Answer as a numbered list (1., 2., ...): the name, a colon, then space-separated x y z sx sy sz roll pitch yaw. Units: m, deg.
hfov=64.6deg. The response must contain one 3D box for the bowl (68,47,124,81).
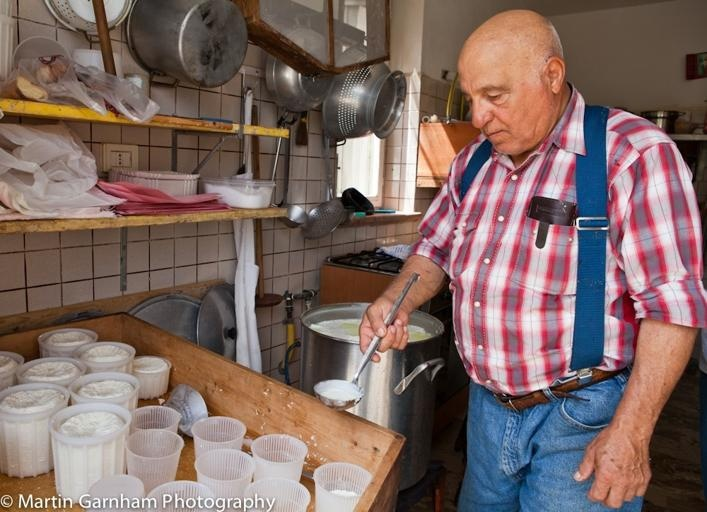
1. bowl: -0.895 -0.674 1.955 0.130 0.092 0.124 6 16 -2

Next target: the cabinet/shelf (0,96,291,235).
1. cabinet/shelf: -0.779 -0.318 2.073 0.378 0.417 1.042 8 11 42

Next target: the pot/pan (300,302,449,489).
1. pot/pan: 0.046 0.547 2.361 0.759 0.661 0.697 0 4 3

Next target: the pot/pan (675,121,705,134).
1. pot/pan: 2.718 -1.034 4.515 0.137 0.089 0.219 0 11 9

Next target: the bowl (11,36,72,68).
1. bowl: -1.008 -0.673 1.817 0.198 0.107 0.127 5 10 26

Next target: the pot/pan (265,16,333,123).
1. pot/pan: -0.219 -0.803 2.658 0.337 0.310 0.560 -4 9 -24

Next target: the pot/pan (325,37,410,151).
1. pot/pan: 0.095 -0.816 2.984 0.284 0.391 0.407 25 36 38
